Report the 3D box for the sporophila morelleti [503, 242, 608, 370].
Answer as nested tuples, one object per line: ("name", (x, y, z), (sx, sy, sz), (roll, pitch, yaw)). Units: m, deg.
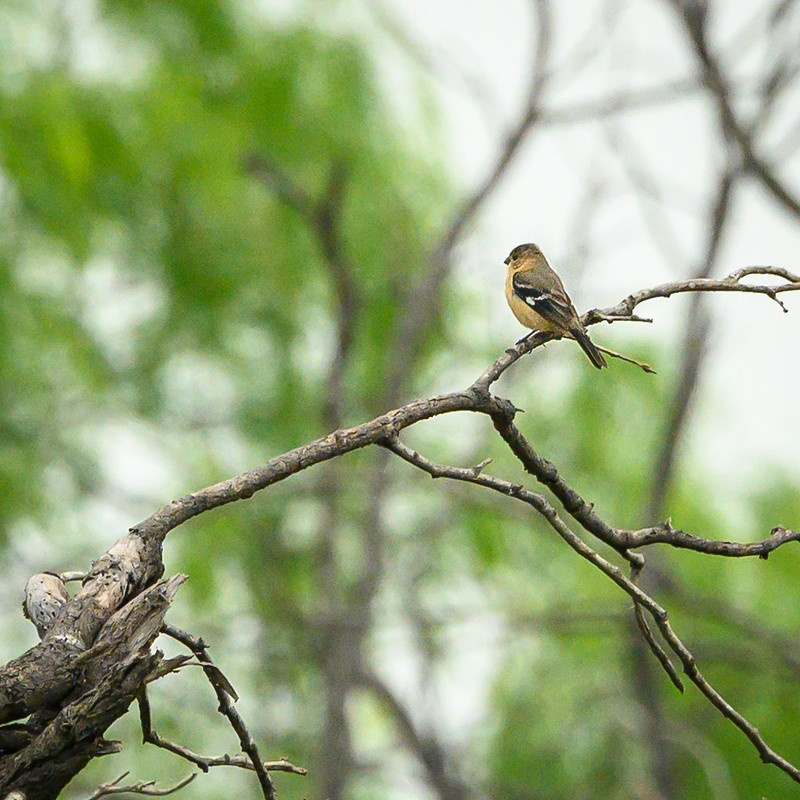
("sporophila morelleti", (0.777, -0.512, 6.528), (0.272, 0.884, 0.421), (1, -73, -31))
